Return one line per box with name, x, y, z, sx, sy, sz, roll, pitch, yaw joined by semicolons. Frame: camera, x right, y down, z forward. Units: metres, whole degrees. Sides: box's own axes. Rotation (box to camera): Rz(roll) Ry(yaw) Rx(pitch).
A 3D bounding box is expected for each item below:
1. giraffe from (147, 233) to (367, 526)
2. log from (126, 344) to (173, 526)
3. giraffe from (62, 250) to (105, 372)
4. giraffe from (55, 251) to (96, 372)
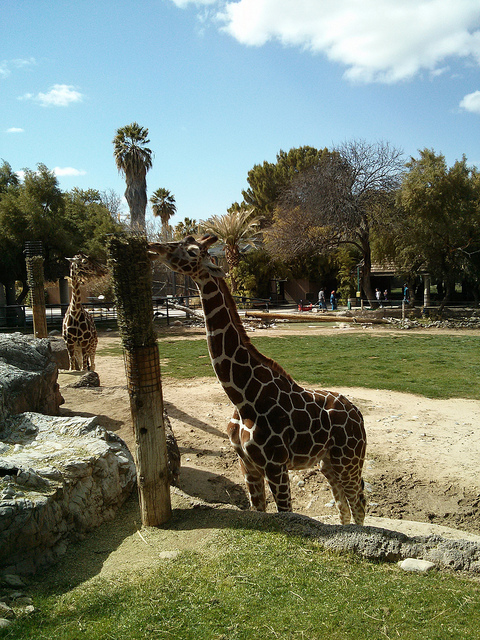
giraffe;0.242;0.583;4.955;1.672;2.602;0.645;-1;4;4
log;-0.742;0.947;4.814;0.346;1.490;0.263;-2;4;-18
giraffe;-3.283;-0.143;12.201;0.820;2.540;1.016;-2;4;-15
giraffe;-3.353;-0.119;12.134;0.650;2.495;0.919;-2;4;-15
